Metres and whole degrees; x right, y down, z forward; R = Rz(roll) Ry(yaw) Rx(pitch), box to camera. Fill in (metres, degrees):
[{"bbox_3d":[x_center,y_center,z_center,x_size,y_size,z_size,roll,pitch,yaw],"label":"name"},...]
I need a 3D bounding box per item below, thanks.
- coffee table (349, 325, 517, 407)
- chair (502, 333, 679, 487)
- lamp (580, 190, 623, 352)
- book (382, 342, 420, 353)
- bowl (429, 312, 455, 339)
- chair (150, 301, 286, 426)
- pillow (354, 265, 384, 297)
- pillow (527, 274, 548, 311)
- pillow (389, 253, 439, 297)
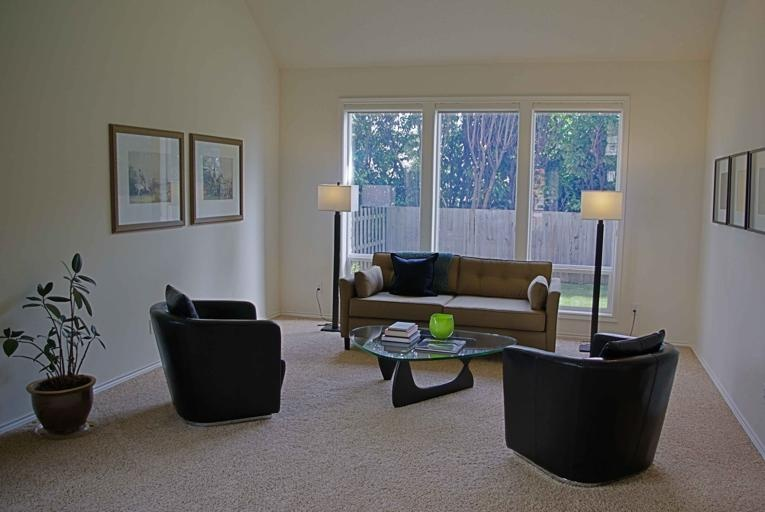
[{"bbox_3d":[0.428,1.067,5.295,1.465,0.564,0.843,-1,13,-7],"label":"coffee table"},{"bbox_3d":[1.519,0.964,4.314,1.287,1.064,1.038,0,4,-30],"label":"chair"},{"bbox_3d":[2.555,0.153,6.580,0.435,1.884,0.748,5,14,21],"label":"lamp"},{"bbox_3d":[0.125,0.852,5.047,0.320,0.016,0.249,4,13,16],"label":"book"},{"bbox_3d":[0.569,0.687,5.319,0.224,0.220,0.228,0,-4,0],"label":"bowl"},{"bbox_3d":[-1.601,0.968,5.159,1.053,0.992,1.220,2,4,-23],"label":"chair"},{"bbox_3d":[-0.154,0.324,6.755,0.224,0.389,0.703,-9,1,18],"label":"pillow"},{"bbox_3d":[1.791,0.414,6.286,0.229,0.355,0.621,9,8,14],"label":"pillow"},{"bbox_3d":[0.392,0.258,6.657,0.468,0.474,0.186,0,-21,4],"label":"pillow"}]
